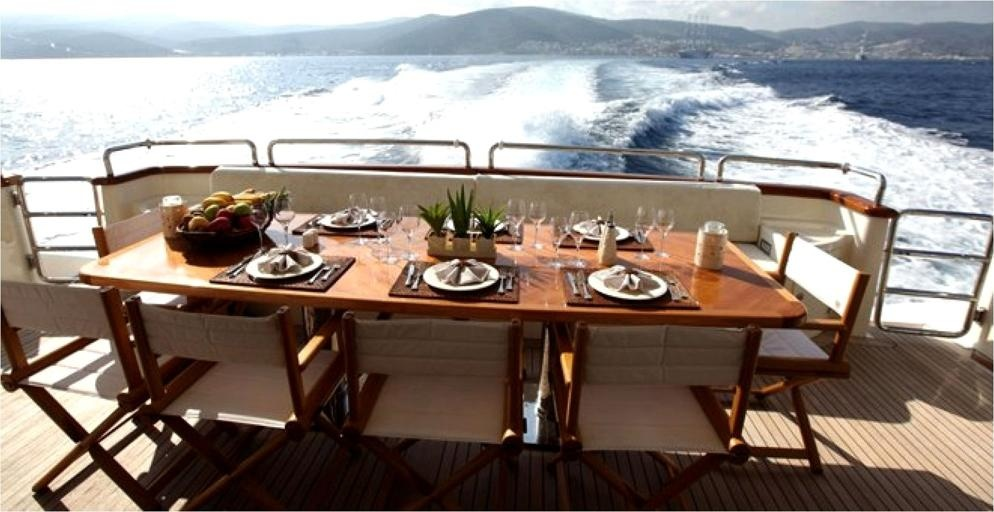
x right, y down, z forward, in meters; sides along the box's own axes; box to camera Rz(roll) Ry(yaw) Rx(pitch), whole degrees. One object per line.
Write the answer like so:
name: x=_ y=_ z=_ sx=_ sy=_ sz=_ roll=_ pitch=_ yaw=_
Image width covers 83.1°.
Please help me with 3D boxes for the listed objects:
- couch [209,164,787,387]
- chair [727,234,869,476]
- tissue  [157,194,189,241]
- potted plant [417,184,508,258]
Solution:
couch: x=0.158 y=0.855 z=7.549 sx=5.600 sy=1.388 sz=1.506 roll=1 pitch=37 yaw=2
chair: x=2.444 y=0.832 z=5.627 sx=1.622 sy=1.826 sz=2.038 roll=0 pitch=15 yaw=6
tissue : x=-2.915 y=-0.339 z=5.030 sx=0.246 sy=0.353 sz=0.252 roll=33 pitch=33 yaw=31
potted plant: x=-0.291 y=-0.263 z=4.947 sx=0.797 sy=0.610 sz=0.532 roll=3 pitch=12 yaw=2
